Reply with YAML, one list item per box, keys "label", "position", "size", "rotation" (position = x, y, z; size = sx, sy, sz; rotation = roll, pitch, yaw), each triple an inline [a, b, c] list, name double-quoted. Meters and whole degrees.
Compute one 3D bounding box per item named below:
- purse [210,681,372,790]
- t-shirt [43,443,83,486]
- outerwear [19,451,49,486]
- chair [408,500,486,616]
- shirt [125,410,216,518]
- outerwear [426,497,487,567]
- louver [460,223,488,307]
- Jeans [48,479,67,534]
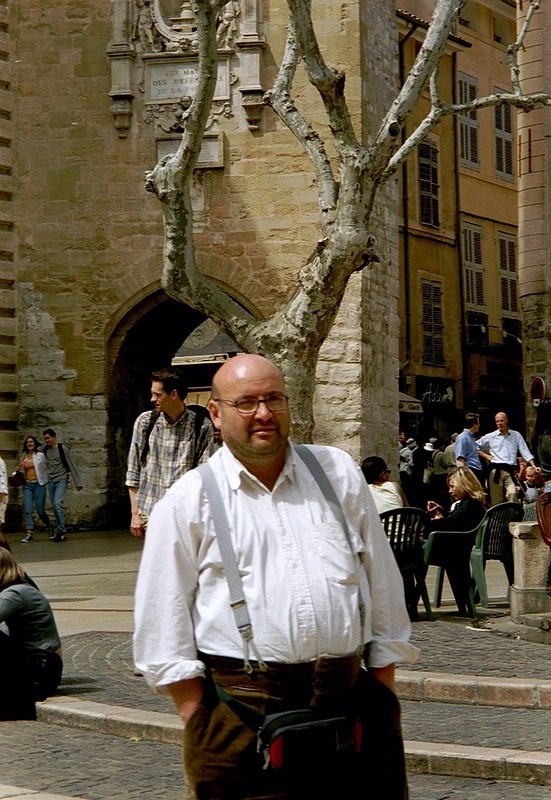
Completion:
- label: "purse"
  position: [0.031, 0.806, 3.085]
  size: [0.189, 0.115, 0.246]
  rotation: [1, 3, -38]
- label: "t-shirt"
  position: [-2.930, 0.895, 17.580]
  size: [0.641, 0.497, 0.218]
  rotation: [-7, 2, 19]
- label: "outerwear"
  position: [-3.254, 0.938, 17.363]
  size: [0.395, 0.418, 0.235]
  rotation: [-17, -10, 1]
- label: "chair"
  position: [1.292, 1.180, 9.354]
  size: [0.539, 0.580, 0.461]
  rotation: [-5, -3, 1]
- label: "shirt"
  position: [-0.613, 0.369, 7.515]
  size: [0.533, 0.636, 0.243]
  rotation: [5, 5, 8]
- label: "outerwear"
  position: [1.307, 0.971, 9.435]
  size: [0.565, 0.623, 0.411]
  rotation: [0, 1, 0]
- label: "louver"
  position: [5.098, -3.494, 33.351]
  size: [0.353, 2.077, 2.097]
  rotation: [-2, -14, 20]
- label: "Jeans"
  position: [-2.917, 1.429, 17.373]
  size: [0.232, 0.748, 0.296]
  rotation: [-2, -6, -38]
